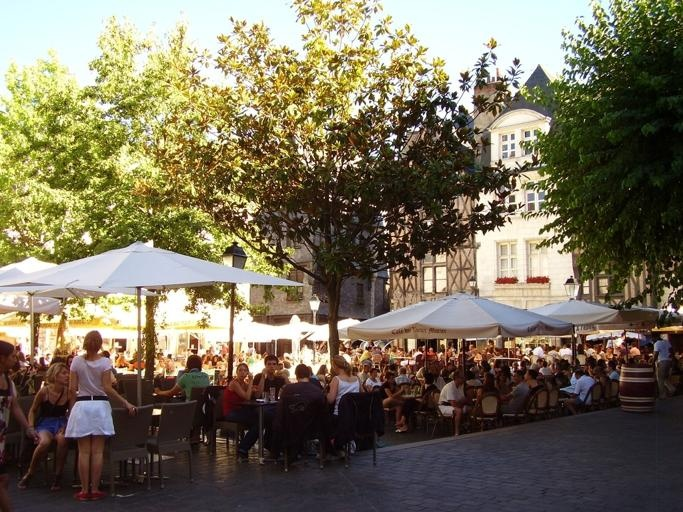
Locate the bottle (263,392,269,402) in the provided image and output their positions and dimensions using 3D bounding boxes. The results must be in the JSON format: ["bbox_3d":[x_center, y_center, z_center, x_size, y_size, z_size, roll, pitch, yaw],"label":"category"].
[{"bbox_3d":[-1.431,2.671,13.590,0.109,0.214,0.112,1,-7,0],"label":"bottle"}]

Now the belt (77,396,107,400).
[{"bbox_3d":[-3.587,2.036,10.186,0.401,0.066,0.084,3,-11,-21],"label":"belt"}]
